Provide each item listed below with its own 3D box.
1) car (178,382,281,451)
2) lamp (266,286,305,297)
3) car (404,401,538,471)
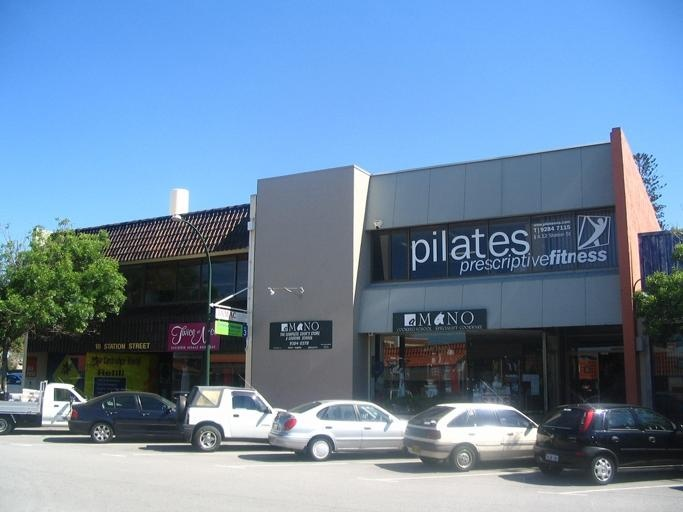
[{"bbox_3d":[-3.824,5.382,21.290,2.771,1.739,1.838,-1,-7,-12],"label":"car"},{"bbox_3d":[-2.447,1.497,27.329,1.824,0.497,0.154,-7,-13,22],"label":"lamp"},{"bbox_3d":[3.665,5.148,17.955,3.450,1.822,1.017,4,-13,-18],"label":"car"}]
